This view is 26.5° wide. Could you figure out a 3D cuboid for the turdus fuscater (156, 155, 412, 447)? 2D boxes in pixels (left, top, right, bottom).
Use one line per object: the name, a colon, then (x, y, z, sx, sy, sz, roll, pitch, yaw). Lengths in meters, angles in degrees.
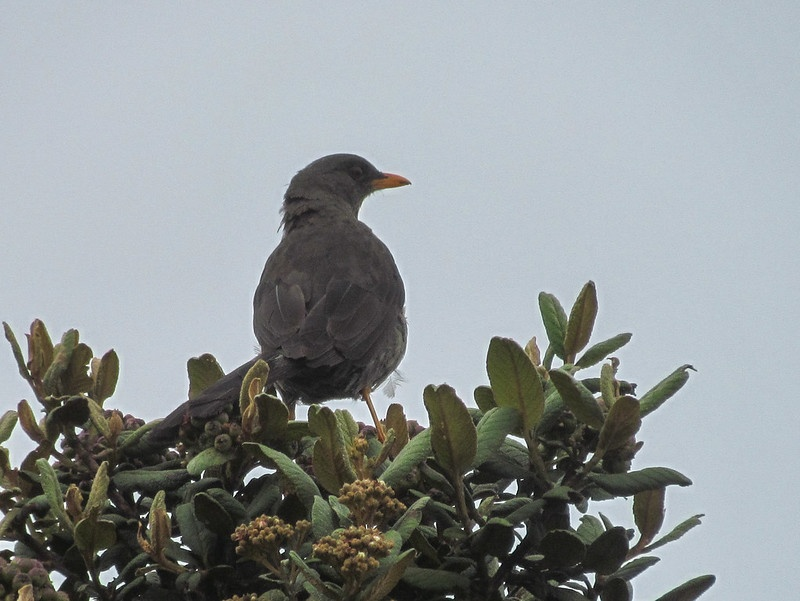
turdus fuscater: (-0.385, -0.008, 6.915, 0.615, 1.418, 2.156, -6, -4, 14)
